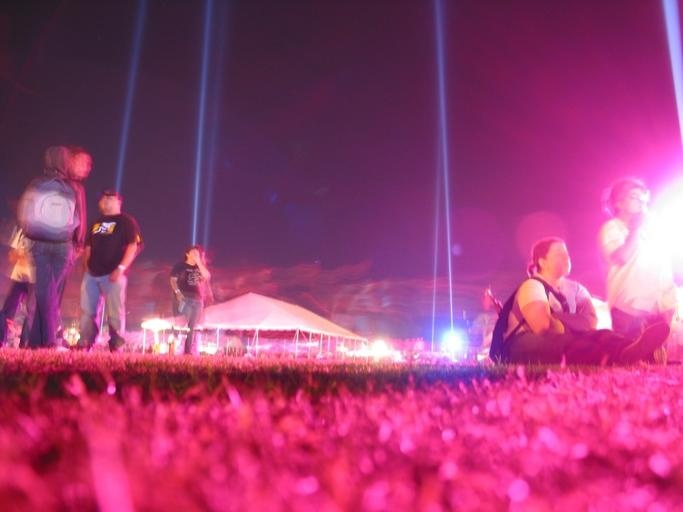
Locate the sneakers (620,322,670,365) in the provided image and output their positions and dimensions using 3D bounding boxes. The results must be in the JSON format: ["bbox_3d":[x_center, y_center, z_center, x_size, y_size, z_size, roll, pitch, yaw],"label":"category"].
[{"bbox_3d":[3.099,0.890,5.704,0.168,0.192,0.505,24,-52,2],"label":"sneakers"}]

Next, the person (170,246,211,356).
[{"bbox_3d":[-2.459,0.640,9.099,0.584,1.592,0.873,1,2,-20],"label":"person"}]

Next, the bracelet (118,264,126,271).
[{"bbox_3d":[-2.890,0.154,7.357,0.073,0.026,0.082,-2,-17,2],"label":"bracelet"}]

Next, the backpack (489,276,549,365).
[{"bbox_3d":[1.838,0.774,6.161,0.196,0.892,0.602,17,21,-2],"label":"backpack"}]
